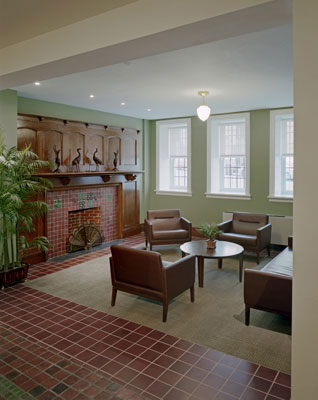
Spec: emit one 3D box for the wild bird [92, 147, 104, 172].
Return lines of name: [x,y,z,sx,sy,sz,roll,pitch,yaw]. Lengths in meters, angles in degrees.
wild bird: [-1.428,-0.947,6.955,0.131,0.526,0.293,2,4,23]

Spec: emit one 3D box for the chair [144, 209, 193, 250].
chair: [0.157,0.670,6.691,1.056,0.786,0.944,-3,6,-23]

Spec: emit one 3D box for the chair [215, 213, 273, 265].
chair: [1.734,0.724,6.150,0.905,0.851,0.702,3,5,37]

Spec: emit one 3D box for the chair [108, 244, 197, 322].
chair: [-0.089,0.980,3.882,0.890,0.802,0.739,1,6,33]

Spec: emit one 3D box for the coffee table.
coffee table: [0.856,0.931,4.917,0.788,0.381,0.766,-1,3,-5]

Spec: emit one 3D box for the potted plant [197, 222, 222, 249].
potted plant: [0.892,0.664,5.065,0.303,0.315,0.253,1,2,29]

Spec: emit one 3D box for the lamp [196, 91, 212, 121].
lamp: [0.713,-1.527,4.855,0.230,0.456,0.223,-3,14,0]
